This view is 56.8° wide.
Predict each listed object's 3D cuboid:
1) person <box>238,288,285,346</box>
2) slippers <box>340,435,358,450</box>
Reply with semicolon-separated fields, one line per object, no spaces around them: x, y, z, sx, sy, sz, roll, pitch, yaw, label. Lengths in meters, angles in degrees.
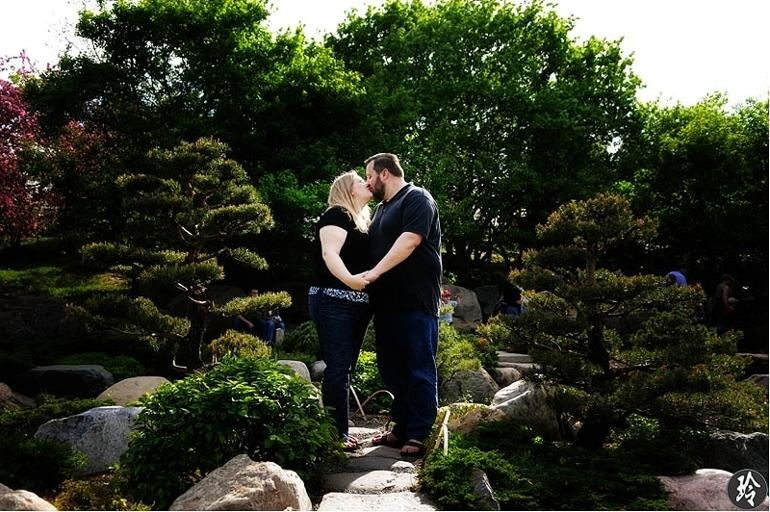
-3.330;1.883;18.927;1.149;1.044;0.972;-2;-13;2;person
-0.584;3.056;11.606;0.133;0.156;0.375;1;-6;8;slippers
